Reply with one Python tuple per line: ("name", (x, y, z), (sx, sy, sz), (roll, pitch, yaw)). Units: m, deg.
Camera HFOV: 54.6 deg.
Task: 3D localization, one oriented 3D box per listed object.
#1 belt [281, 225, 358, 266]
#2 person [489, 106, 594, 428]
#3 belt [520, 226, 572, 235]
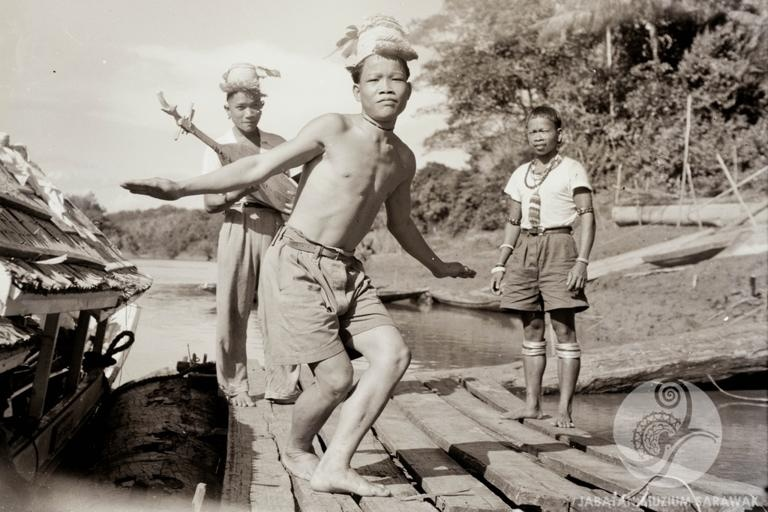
("belt", (-0.448, -0.060, 5.021), (0.344, 0.077, 0.301), (20, -3, -23))
("person", (1.378, 0.066, 6.374), (0.892, 2.679, 0.601), (8, 10, 29))
("belt", (1.388, -0.218, 6.364), (0.427, 0.097, 0.161), (4, 8, 9))
